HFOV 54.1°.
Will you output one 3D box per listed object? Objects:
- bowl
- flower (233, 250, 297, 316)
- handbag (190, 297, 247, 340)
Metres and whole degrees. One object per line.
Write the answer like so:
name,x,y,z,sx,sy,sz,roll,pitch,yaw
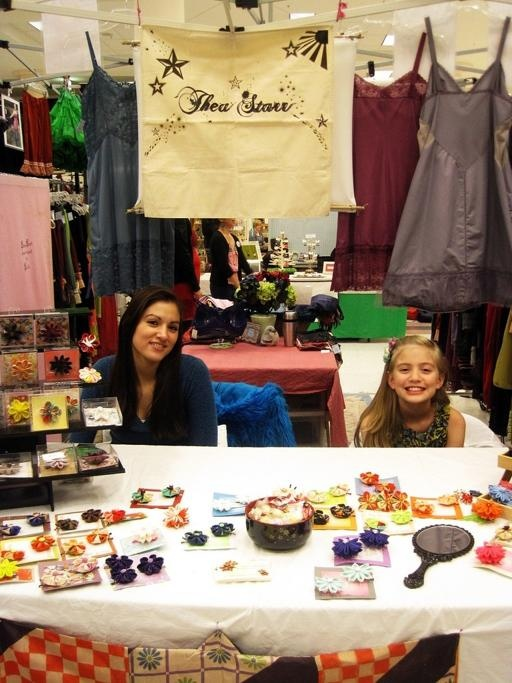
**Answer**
bowl,0.047,0.357,0.992,0.140,0.061,0.115,-4,11,-24
flower,0.058,-0.358,3.375,0.360,0.339,0.298,0,17,13
handbag,-0.240,-0.142,3.247,0.278,0.155,0.370,-1,9,-5
